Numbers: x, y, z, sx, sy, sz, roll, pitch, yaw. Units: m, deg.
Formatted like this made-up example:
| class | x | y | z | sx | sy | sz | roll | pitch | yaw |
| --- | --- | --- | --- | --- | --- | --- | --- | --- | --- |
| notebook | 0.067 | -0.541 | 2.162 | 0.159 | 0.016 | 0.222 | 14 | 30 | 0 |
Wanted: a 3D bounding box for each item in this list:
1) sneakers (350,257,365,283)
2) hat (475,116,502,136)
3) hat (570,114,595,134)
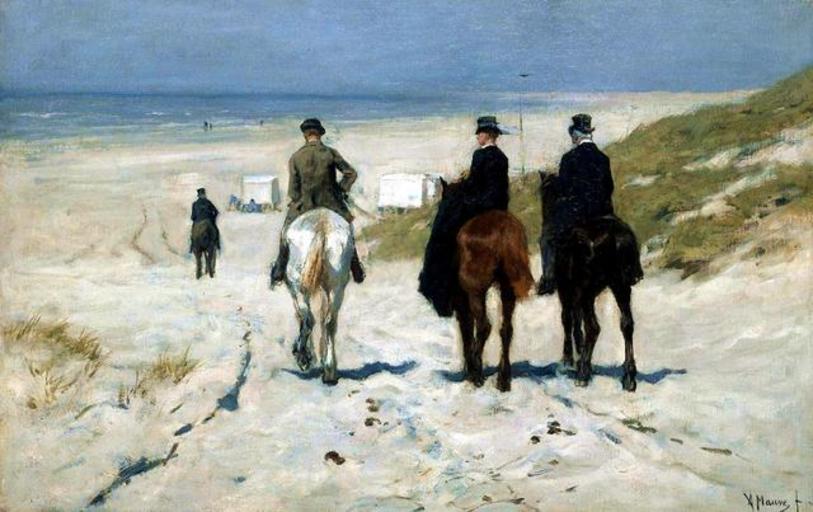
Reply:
| class | x | y | z | sx | sy | sz | roll | pitch | yaw |
| --- | --- | --- | --- | --- | --- | --- | --- | --- | --- |
| sneakers | -1.021 | 0.258 | 16.412 | 0.250 | 0.502 | 0.117 | -17 | 18 | -31 |
| hat | 1.584 | -2.558 | 15.797 | 0.496 | 0.372 | 0.310 | -2 | 6 | -6 |
| hat | 3.441 | -2.598 | 15.974 | 0.359 | 0.417 | 0.430 | 0 | -7 | 7 |
